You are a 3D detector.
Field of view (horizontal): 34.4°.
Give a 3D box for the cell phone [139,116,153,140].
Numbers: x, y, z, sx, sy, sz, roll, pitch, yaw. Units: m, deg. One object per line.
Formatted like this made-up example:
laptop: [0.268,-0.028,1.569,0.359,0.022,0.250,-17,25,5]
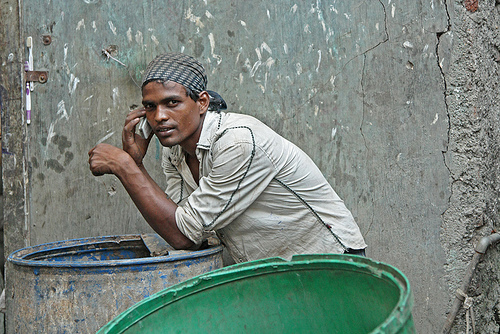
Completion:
cell phone: [-0.747,-0.275,5.759,0.041,0.051,0.225,24,-40,17]
